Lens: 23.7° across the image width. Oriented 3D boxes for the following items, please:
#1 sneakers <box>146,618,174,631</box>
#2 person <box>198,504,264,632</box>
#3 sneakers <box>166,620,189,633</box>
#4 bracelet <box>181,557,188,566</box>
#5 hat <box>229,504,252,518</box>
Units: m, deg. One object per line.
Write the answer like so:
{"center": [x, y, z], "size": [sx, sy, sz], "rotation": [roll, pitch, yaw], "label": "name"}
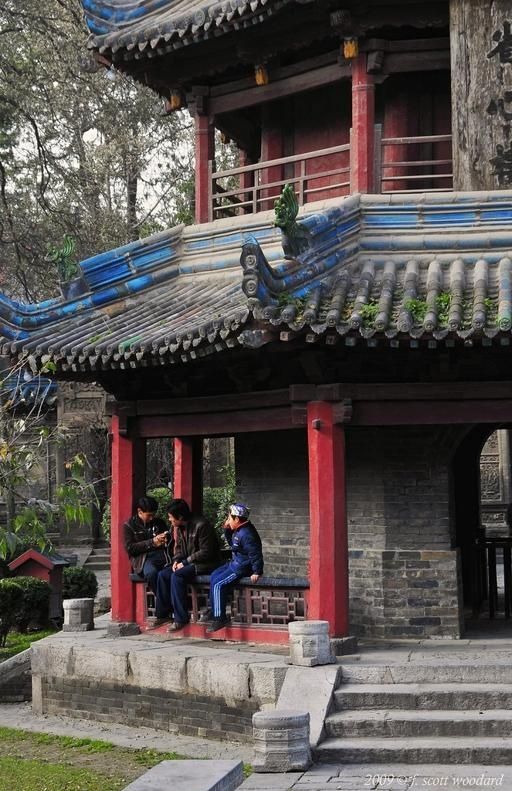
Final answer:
{"center": [-0.916, 2.199, 11.667], "size": [0.290, 0.126, 0.109], "rotation": [2, -3, 4], "label": "sneakers"}
{"center": [-0.216, 1.564, 10.983], "size": [0.362, 1.162, 0.740], "rotation": [3, -8, -30], "label": "person"}
{"center": [-0.725, 2.174, 11.454], "size": [0.226, 0.099, 0.085], "rotation": [-2, 4, -2], "label": "sneakers"}
{"center": [-0.646, 1.535, 11.225], "size": [0.049, 0.046, 0.050], "rotation": [2, -19, -8], "label": "bracelet"}
{"center": [-0.148, 1.027, 10.846], "size": [0.131, 0.097, 0.172], "rotation": [9, 6, -12], "label": "hat"}
